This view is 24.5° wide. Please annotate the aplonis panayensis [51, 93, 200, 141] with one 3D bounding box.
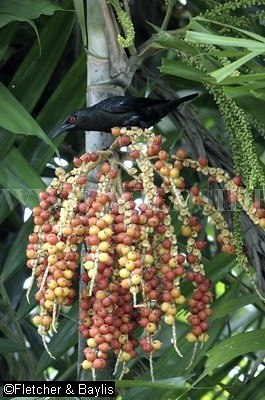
[{"bbox_3d":[-0.010,-0.151,1.105,0.272,0.070,0.080,-17,94,-21],"label":"aplonis panayensis"}]
